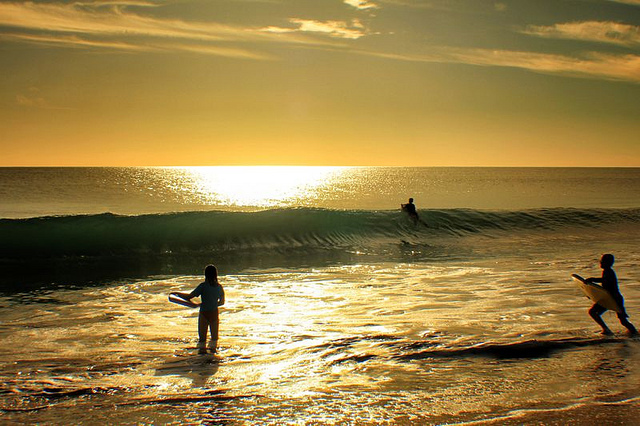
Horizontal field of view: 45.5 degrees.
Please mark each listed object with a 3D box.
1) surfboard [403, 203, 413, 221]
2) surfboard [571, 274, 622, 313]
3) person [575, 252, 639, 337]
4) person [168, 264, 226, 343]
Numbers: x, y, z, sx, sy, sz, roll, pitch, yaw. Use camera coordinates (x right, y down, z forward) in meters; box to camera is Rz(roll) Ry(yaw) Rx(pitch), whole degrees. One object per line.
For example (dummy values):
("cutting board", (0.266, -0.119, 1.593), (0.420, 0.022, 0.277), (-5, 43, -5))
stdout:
("surfboard", (3.908, -0.041, 33.392), (0.281, 0.622, 0.505), (-31, 15, -1))
("surfboard", (7.000, 2.047, 19.199), (1.046, 0.175, 1.761), (28, 0, -32))
("person", (7.071, 1.935, 18.656), (1.566, 1.883, 1.162), (2, 13, 12))
("person", (-2.770, 2.155, 18.387), (0.900, 1.747, 0.644), (-7, 15, -25))
